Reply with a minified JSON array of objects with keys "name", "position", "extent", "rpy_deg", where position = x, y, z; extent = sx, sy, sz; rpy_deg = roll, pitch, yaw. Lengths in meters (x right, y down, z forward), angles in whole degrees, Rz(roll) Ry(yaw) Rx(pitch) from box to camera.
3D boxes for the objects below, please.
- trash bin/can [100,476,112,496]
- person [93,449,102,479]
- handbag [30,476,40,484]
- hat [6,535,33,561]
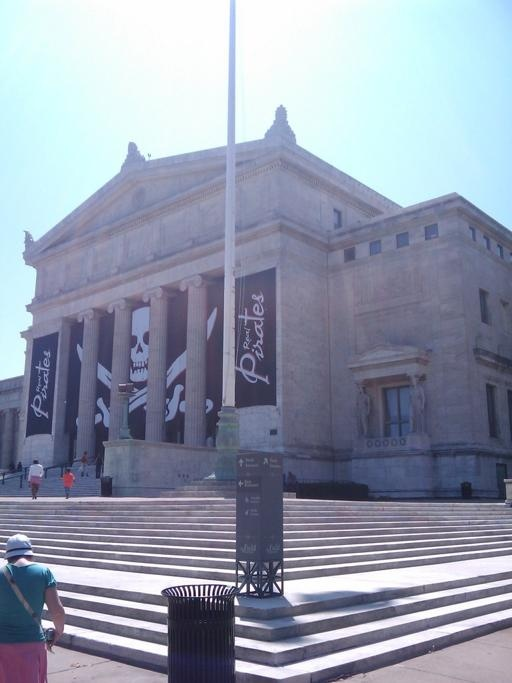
[{"name":"trash bin/can","position":[-7.989,7.677,26.105],"extent":[0.621,1.074,1.018],"rpy_deg":[5,-19,-20]},{"name":"person","position":[-10.807,8.528,33.536],"extent":[0.458,1.874,2.100],"rpy_deg":[4,-19,-17]},{"name":"handbag","position":[-11.333,7.082,24.943],"extent":[0.316,0.328,0.375],"rpy_deg":[0,-16,-8]},{"name":"hat","position":[-1.429,1.221,2.948],"extent":[0.131,0.126,0.172],"rpy_deg":[-1,-12,-13]}]
